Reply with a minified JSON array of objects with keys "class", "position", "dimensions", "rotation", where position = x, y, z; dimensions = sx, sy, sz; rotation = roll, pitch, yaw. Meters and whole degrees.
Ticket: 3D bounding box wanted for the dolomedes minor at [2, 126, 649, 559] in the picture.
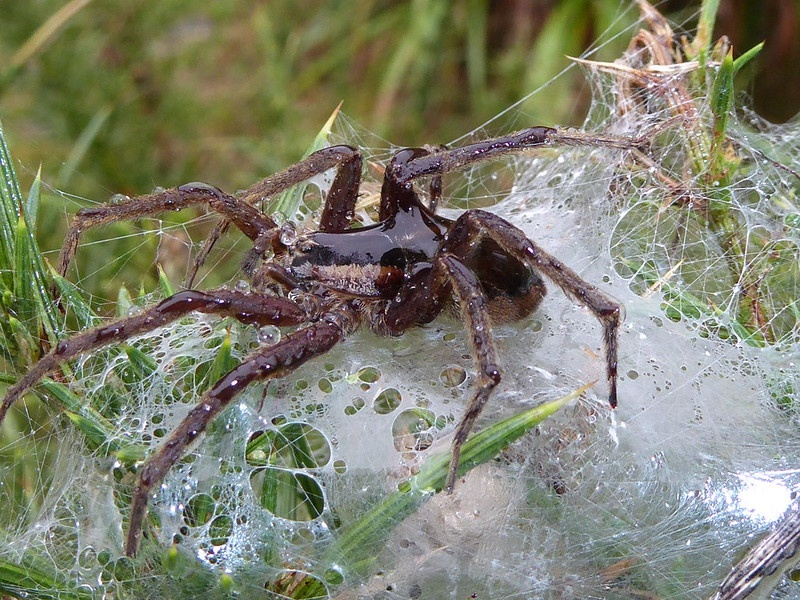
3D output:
[{"class":"dolomedes minor","position":[-0.181,0.123,2.033],"dimensions":[1.181,0.338,0.833],"rotation":[-10,46,-10]}]
